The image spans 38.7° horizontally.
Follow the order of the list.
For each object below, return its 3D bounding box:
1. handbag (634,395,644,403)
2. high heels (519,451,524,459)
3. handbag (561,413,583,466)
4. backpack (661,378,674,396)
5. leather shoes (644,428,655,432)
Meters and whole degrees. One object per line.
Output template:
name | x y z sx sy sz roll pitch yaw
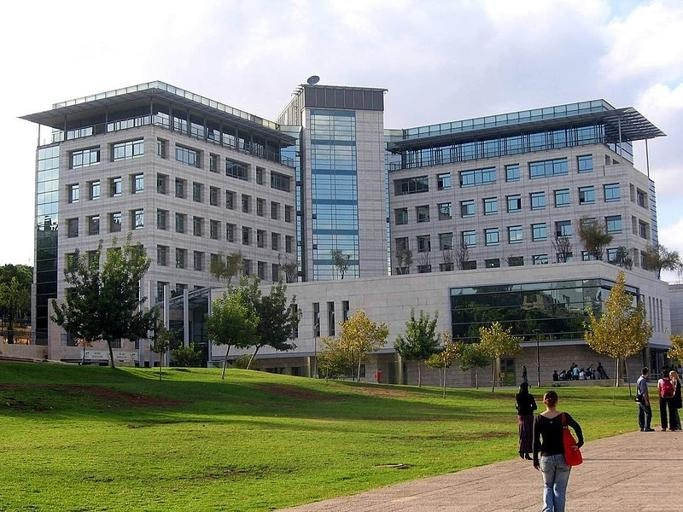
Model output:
handbag | 13.069 6.277 42.794 0.284 0.427 0.411 -6 -23 15
high heels | 6.047 6.799 32.921 0.147 0.243 0.248 0 -1 18
handbag | 6.359 5.127 26.925 0.451 1.408 1.279 -4 -11 14
backpack | 14.253 5.796 42.591 0.513 0.776 0.423 -3 -26 13
leather shoes | 13.699 7.790 43.301 0.459 0.204 0.152 0 0 -35
